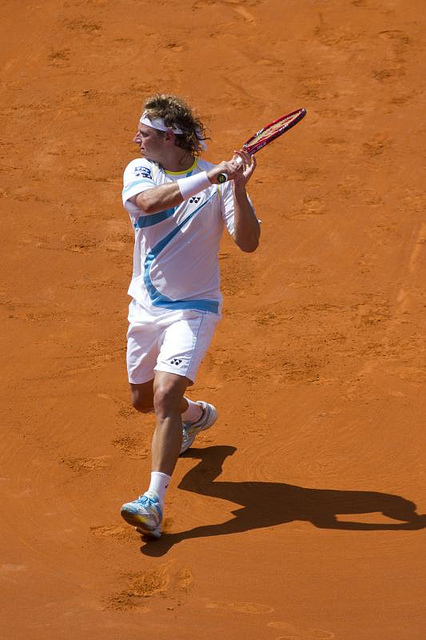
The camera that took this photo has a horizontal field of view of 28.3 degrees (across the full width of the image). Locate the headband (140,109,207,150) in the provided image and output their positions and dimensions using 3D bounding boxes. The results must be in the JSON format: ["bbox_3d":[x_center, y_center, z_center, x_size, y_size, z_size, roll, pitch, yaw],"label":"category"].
[{"bbox_3d":[-0.221,-1.069,4.772,0.342,0.187,0.086,22,-16,5],"label":"headband"}]

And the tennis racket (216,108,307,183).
[{"bbox_3d":[0.316,-0.939,4.743,0.773,0.079,0.308,-37,35,-20],"label":"tennis racket"}]

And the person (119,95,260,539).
[{"bbox_3d":[-0.212,-0.074,4.700,0.720,2.211,1.482,7,22,-13],"label":"person"}]
